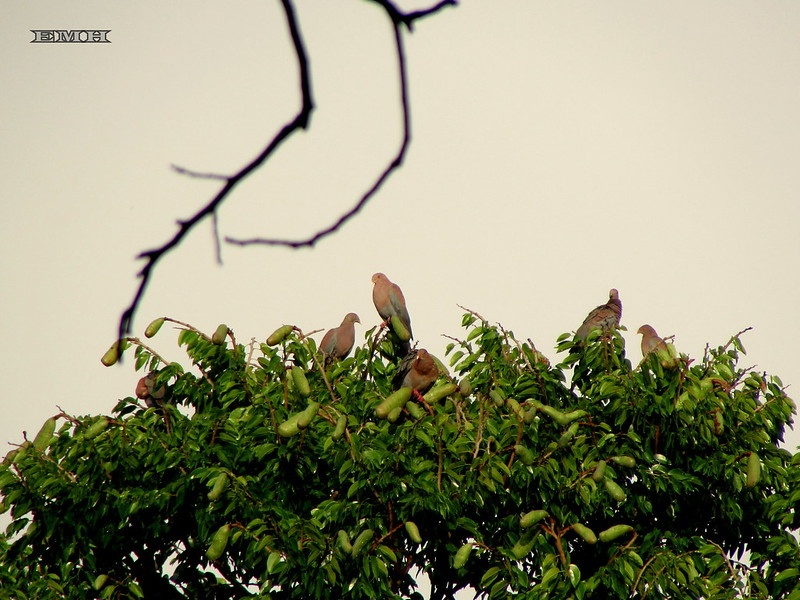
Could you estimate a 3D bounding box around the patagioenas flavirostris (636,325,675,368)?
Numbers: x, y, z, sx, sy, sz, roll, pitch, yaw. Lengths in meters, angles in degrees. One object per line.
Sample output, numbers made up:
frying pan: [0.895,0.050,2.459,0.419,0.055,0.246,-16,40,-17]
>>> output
patagioenas flavirostris: [1.383,0.272,8.844,0.219,0.271,0.151,2,-24,10]

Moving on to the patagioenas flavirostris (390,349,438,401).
patagioenas flavirostris: [0.071,0.396,9.079,0.270,0.318,0.202,9,-6,42]

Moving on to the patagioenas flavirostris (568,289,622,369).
patagioenas flavirostris: [1.123,0.134,9.298,0.291,0.435,0.173,5,-32,-4]

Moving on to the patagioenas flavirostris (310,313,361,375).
patagioenas flavirostris: [-0.382,0.247,9.658,0.311,0.417,0.168,13,13,34]
